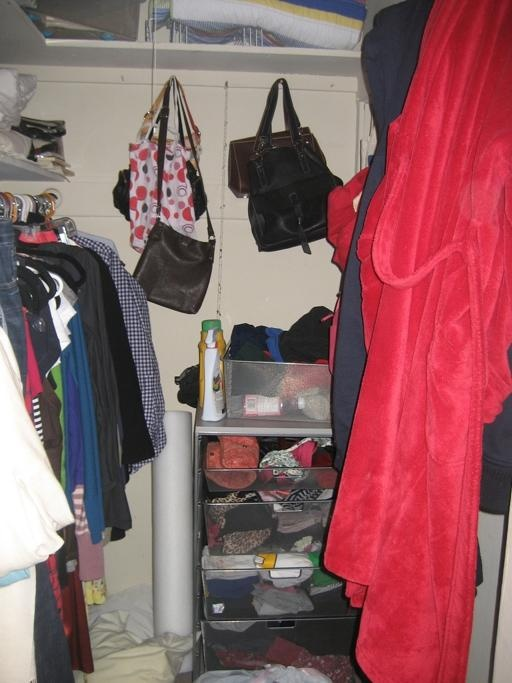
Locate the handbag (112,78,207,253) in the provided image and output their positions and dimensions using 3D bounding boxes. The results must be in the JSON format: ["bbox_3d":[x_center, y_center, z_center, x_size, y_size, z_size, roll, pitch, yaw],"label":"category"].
[{"bbox_3d":[-0.294,-0.531,1.845,0.278,0.518,0.258,-1,9,-5],"label":"handbag"}]

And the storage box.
[{"bbox_3d":[0.039,0.480,1.600,0.419,0.873,0.273,-2,9,-7],"label":"storage box"}]

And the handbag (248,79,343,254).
[{"bbox_3d":[0.086,-0.504,1.793,0.251,0.468,0.138,-14,22,-7],"label":"handbag"}]

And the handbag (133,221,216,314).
[{"bbox_3d":[-0.225,-0.224,1.814,0.202,0.283,0.067,17,31,4],"label":"handbag"}]

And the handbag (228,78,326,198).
[{"bbox_3d":[0.065,-0.615,1.876,0.312,0.351,0.123,-10,39,-16],"label":"handbag"}]
